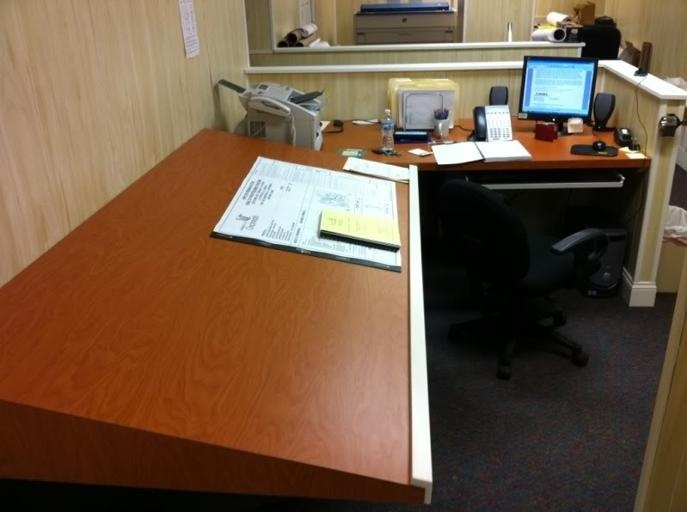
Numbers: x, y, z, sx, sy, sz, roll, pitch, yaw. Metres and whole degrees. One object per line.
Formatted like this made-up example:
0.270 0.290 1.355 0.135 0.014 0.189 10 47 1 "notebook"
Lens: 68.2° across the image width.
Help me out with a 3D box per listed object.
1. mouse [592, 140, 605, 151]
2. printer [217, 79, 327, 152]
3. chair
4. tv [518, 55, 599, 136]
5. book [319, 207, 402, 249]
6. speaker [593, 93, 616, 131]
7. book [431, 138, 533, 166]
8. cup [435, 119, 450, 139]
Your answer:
1.548 -0.667 3.065 0.068 0.040 0.092 24 37 34 "mouse"
-0.417 -0.836 2.894 0.536 0.269 0.407 12 37 0 "printer"
0.974 0.050 2.786 0.880 1.018 0.772 -17 18 -30 "chair"
1.403 -1.041 3.292 0.445 0.476 0.189 10 38 18 "tv"
0.072 -0.106 1.872 0.225 0.039 0.170 11 34 -9 "book"
1.733 -0.958 3.358 0.099 0.238 0.135 -9 22 -27 "speaker"
0.831 -0.637 3.115 0.572 0.079 0.297 0 31 -3 "book"
0.652 -0.840 3.346 0.072 0.121 0.125 7 35 23 "cup"
